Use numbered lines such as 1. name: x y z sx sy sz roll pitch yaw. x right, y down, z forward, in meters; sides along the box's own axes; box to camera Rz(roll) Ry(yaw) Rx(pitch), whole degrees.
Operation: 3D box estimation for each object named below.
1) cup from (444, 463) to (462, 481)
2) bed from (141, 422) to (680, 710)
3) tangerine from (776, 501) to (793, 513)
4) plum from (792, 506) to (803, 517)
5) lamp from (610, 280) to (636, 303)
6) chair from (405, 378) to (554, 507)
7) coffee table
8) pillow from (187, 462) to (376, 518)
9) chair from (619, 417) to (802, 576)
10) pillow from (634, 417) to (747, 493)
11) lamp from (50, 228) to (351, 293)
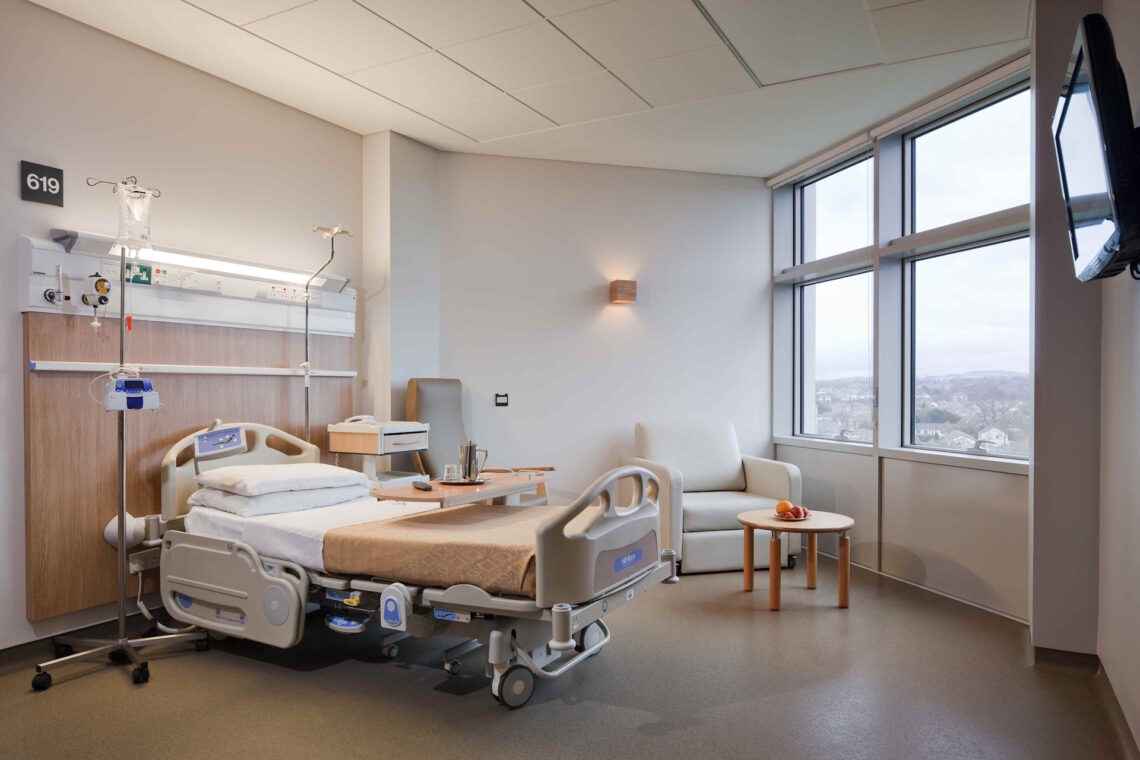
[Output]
1. cup: -0.777 0.627 5.032 0.112 0.105 0.099 -4 -6 44
2. bed: -1.001 1.009 4.976 2.773 1.238 1.577 0 0 24
3. tangerine: 1.671 0.973 5.859 0.100 0.074 0.099 -6 -1 -29
4. plum: 1.770 1.018 5.834 0.062 0.041 0.075 -1 -1 6
5. lamp: 0.514 -0.830 7.312 0.297 0.230 0.190 -1 11 -6
6. chair: -0.817 0.633 6.380 0.989 1.140 0.849 9 10 30
7. coffee table: 1.821 1.426 5.922 0.873 0.619 0.888 1 -5 38
8. pillow: -1.916 0.729 5.216 0.813 0.237 0.547 1 0 -44
9. chair: 1.262 1.077 7.004 1.567 1.247 1.575 0 -1 2
10. pillow: 1.145 0.680 7.036 0.951 0.659 0.654 0 -4 -20
11. lamp: -2.679 -0.837 5.535 1.862 0.468 0.448 -6 12 -30
